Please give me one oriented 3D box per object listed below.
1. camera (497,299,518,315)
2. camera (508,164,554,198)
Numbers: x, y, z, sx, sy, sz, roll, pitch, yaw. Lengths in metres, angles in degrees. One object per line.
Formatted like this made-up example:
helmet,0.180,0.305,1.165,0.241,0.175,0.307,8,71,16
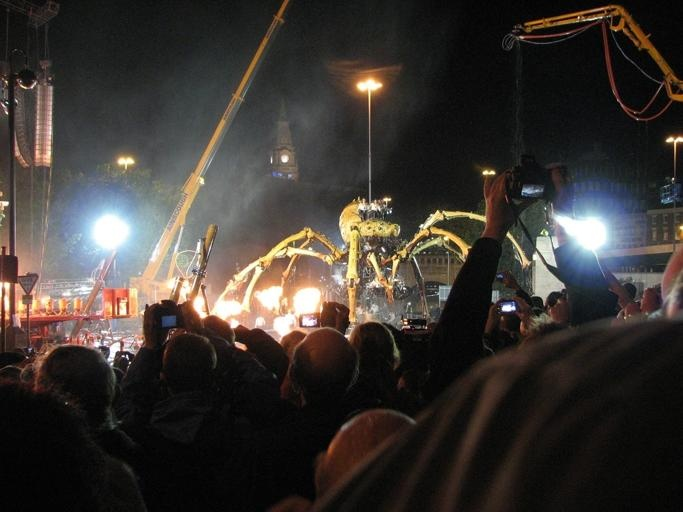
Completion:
camera,1.780,0.570,6.920,0.286,0.220,0.106,-2,2,13
camera,0.931,-0.372,3.106,0.188,0.179,0.185,6,24,11
